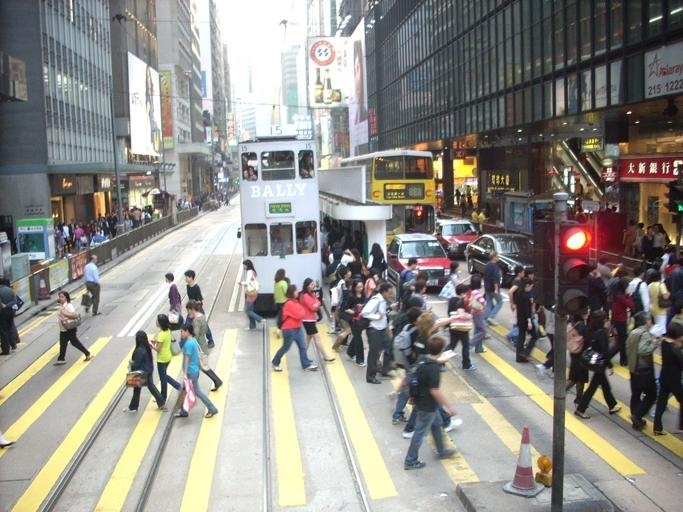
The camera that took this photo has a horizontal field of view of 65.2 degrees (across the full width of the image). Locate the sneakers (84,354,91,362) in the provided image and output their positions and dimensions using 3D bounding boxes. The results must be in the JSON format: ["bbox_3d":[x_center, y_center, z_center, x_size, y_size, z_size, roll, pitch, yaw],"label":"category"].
[{"bbox_3d":[-6.691,2.660,14.131,0.182,0.184,0.302,-6,9,-24],"label":"sneakers"}]

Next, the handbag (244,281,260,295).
[{"bbox_3d":[-2.601,0.925,15.638,0.438,0.507,0.301,3,12,-7],"label":"handbag"}]

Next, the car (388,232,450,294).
[{"bbox_3d":[2.974,0.103,21.109,1.890,1.752,3.671,-4,15,-9],"label":"car"}]

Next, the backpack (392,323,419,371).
[{"bbox_3d":[1.238,1.603,9.643,0.572,0.657,0.375,-3,1,-29],"label":"backpack"}]

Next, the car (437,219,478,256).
[{"bbox_3d":[5.837,-0.974,27.363,1.299,1.065,2.388,-3,12,-12],"label":"car"}]

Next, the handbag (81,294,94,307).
[{"bbox_3d":[-8.700,1.547,18.331,0.313,0.604,0.869,-6,9,-26],"label":"handbag"}]

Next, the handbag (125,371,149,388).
[{"bbox_3d":[-3.997,2.404,10.472,0.426,0.342,0.269,2,16,4],"label":"handbag"}]

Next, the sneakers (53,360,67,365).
[{"bbox_3d":[-7.307,2.764,13.936,0.283,0.141,0.111,2,5,-6],"label":"sneakers"}]

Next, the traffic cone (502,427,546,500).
[{"bbox_3d":[2.597,2.865,7.579,0.666,0.845,0.694,11,-10,-15],"label":"traffic cone"}]

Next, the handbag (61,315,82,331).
[{"bbox_3d":[-6.826,1.688,13.487,0.461,0.421,0.389,-6,9,-20],"label":"handbag"}]

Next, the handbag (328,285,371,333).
[{"bbox_3d":[0.240,1.281,13.026,0.544,0.518,1.418,-1,6,-12],"label":"handbag"}]

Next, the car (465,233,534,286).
[{"bbox_3d":[6.510,0.095,21.256,1.579,1.420,4.009,0,5,-11],"label":"car"}]

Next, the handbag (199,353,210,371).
[{"bbox_3d":[-2.812,2.182,10.988,0.157,0.455,0.314,-4,8,-16],"label":"handbag"}]

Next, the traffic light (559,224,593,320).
[{"bbox_3d":[2.703,0.154,6.216,0.326,1.087,0.475,1,8,24],"label":"traffic light"}]
